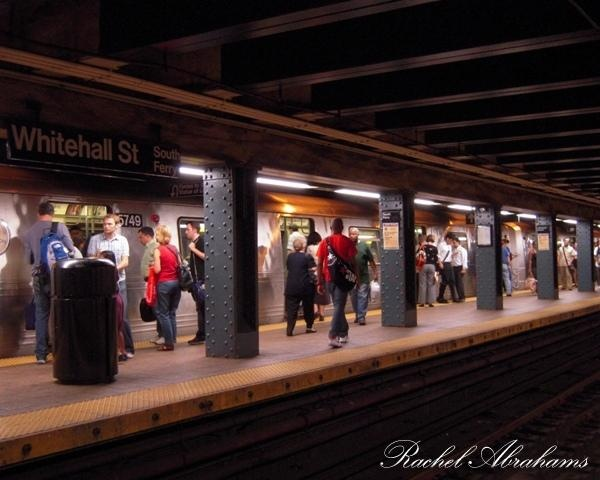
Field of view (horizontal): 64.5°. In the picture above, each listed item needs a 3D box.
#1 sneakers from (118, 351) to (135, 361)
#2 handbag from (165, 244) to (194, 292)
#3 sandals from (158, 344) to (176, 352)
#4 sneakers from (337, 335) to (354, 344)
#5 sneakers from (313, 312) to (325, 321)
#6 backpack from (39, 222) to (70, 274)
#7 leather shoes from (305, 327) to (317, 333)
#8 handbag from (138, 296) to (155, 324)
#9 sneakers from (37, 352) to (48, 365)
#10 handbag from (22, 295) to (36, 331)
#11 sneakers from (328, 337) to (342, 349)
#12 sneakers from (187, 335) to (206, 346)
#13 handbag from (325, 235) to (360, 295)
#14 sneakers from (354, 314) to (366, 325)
[{"bbox_3d":[-2.602,1.745,7.175,0.098,0.121,0.279,0,-1,4],"label":"sneakers"},{"bbox_3d":[-2.090,0.512,8.625,0.376,0.786,1.363,0,-3,-12],"label":"handbag"},{"bbox_3d":[-2.215,1.778,7.982,0.286,0.119,0.250,-1,-3,-2],"label":"sandals"},{"bbox_3d":[0.782,1.739,8.311,0.109,0.139,0.318,-1,-16,20],"label":"sneakers"},{"bbox_3d":[0.501,1.865,11.543,0.150,0.160,0.425,-1,-9,16],"label":"sneakers"},{"bbox_3d":[-3.410,0.091,6.664,0.293,0.568,0.350,4,15,22],"label":"backpack"},{"bbox_3d":[0.245,1.811,9.717,0.190,0.113,0.343,-1,-3,2],"label":"leather shoes"},{"bbox_3d":[-2.679,1.241,8.396,0.245,0.409,0.454,2,-4,-40],"label":"handbag"},{"bbox_3d":[-3.654,1.679,6.782,0.117,0.181,0.103,1,-3,-25],"label":"sneakers"},{"bbox_3d":[-4.292,1.173,7.608,0.148,0.538,0.295,1,-3,-29],"label":"handbag"},{"bbox_3d":[0.599,1.690,7.859,0.206,0.169,0.204,-1,-3,1],"label":"sneakers"},{"bbox_3d":[-1.865,1.841,8.642,0.355,0.174,0.120,6,-10,-28],"label":"sneakers"},{"bbox_3d":[0.701,0.410,7.849,0.493,0.879,0.229,-1,-3,2],"label":"handbag"},{"bbox_3d":[1.408,1.837,11.011,0.176,0.234,0.545,-1,-10,5],"label":"sneakers"}]
